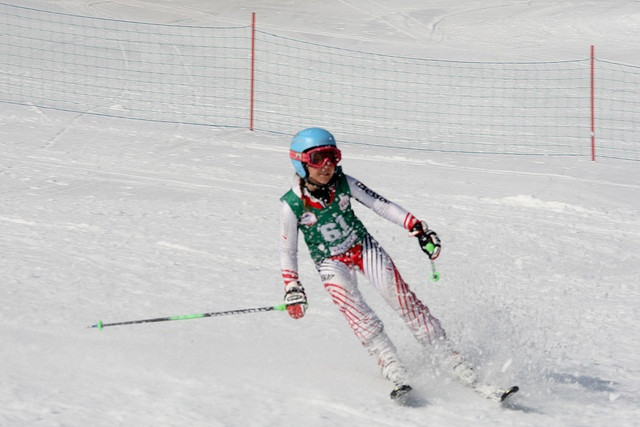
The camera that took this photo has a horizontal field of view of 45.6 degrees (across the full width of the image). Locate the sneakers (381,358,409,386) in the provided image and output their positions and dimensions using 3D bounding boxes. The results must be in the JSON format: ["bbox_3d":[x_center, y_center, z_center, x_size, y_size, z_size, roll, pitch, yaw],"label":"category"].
[{"bbox_3d":[0.647,1.374,6.606,0.155,0.091,0.351,-4,17,-24],"label":"sneakers"}]

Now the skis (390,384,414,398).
[{"bbox_3d":[0.696,1.555,6.606,0.149,0.187,0.145,24,67,10],"label":"skis"}]

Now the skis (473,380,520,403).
[{"bbox_3d":[1.511,1.542,6.563,0.373,0.049,0.151,3,24,17],"label":"skis"}]

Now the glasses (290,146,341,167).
[{"bbox_3d":[-0.063,-0.465,6.510,0.246,0.295,0.076,0,83,-41],"label":"glasses"}]
